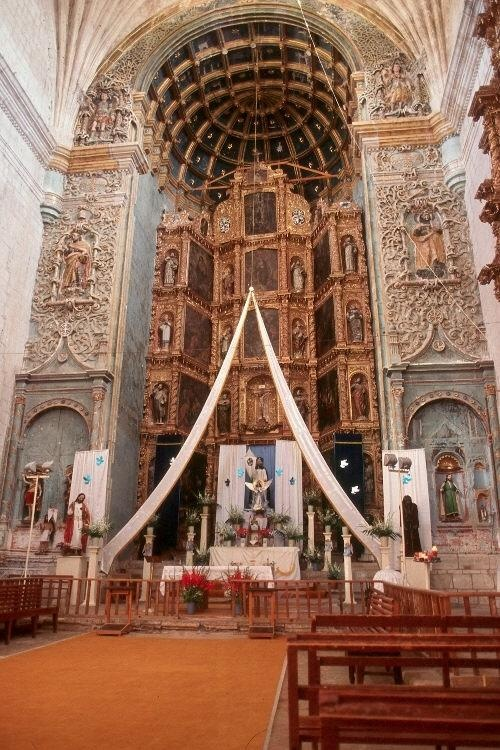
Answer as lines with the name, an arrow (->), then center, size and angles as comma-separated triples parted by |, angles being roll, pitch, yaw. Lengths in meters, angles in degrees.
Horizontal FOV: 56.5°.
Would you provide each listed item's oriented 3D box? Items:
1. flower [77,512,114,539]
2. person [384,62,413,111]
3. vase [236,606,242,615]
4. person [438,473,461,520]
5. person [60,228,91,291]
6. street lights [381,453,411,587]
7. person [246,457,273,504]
flower -> -4.374, 4.269, 12.902 | 0.861, 0.675, 0.908 | -10, -16, 26
person -> 5.862, -11.343, 18.397 | 1.114, 2.292, 0.390 | -4, -4, 9
vase -> -0.240, 4.873, 9.654 | 0.123, 0.180, 0.111 | -1, -19, -1
person -> 6.111, 3.757, 14.301 | 0.497, 1.284, 0.300 | -7, -20, 17
person -> -6.654, -4.170, 17.722 | 1.265, 2.097, 0.313 | -5, -19, 13
street lights -> 3.488, 2.928, 10.686 | 0.579, 2.136, 0.391 | 5, -25, -5
person -> 0.302, 3.734, 16.152 | 0.853, 1.875, 0.627 | 0, 8, 1
